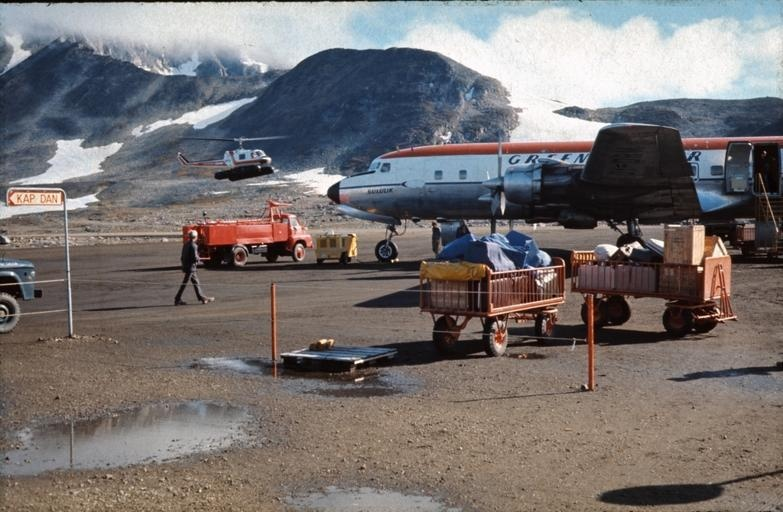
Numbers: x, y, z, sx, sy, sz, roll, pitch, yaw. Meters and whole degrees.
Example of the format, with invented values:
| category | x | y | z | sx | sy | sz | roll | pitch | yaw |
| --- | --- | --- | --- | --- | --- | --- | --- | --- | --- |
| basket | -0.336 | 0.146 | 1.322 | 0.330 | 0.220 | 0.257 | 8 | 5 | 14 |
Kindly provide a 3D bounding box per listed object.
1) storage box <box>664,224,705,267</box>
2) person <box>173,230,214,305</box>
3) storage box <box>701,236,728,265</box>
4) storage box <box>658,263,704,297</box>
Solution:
| category | x | y | z | sx | sy | sz | roll | pitch | yaw |
| --- | --- | --- | --- | --- | --- | --- | --- | --- | --- |
| storage box | 8.151 | -0.348 | 24.868 | 1.089 | 0.896 | 1.072 | -4 | 4 | -41 |
| person | -7.003 | 0.357 | 30.980 | 1.594 | 2.857 | 1.043 | 0 | 1 | 2 |
| storage box | 9.006 | -0.250 | 24.980 | 0.658 | 0.816 | 0.886 | -4 | 3 | -3 |
| storage box | 7.948 | 0.640 | 24.393 | 0.958 | 0.593 | 0.930 | 1 | 5 | 8 |
